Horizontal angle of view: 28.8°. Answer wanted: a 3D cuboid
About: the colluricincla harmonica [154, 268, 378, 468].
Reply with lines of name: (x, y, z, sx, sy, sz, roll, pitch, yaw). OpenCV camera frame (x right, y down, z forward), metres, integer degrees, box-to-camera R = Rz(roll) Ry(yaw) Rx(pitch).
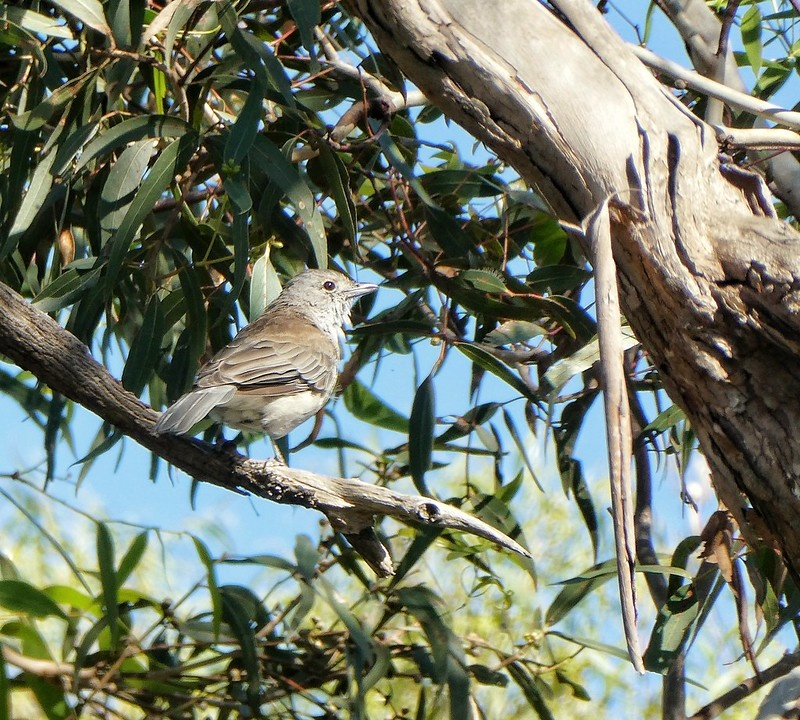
colluricincla harmonica: (-0.478, -0.050, 5.551, 0.923, 0.856, 0.448, 12, -16, -43)
